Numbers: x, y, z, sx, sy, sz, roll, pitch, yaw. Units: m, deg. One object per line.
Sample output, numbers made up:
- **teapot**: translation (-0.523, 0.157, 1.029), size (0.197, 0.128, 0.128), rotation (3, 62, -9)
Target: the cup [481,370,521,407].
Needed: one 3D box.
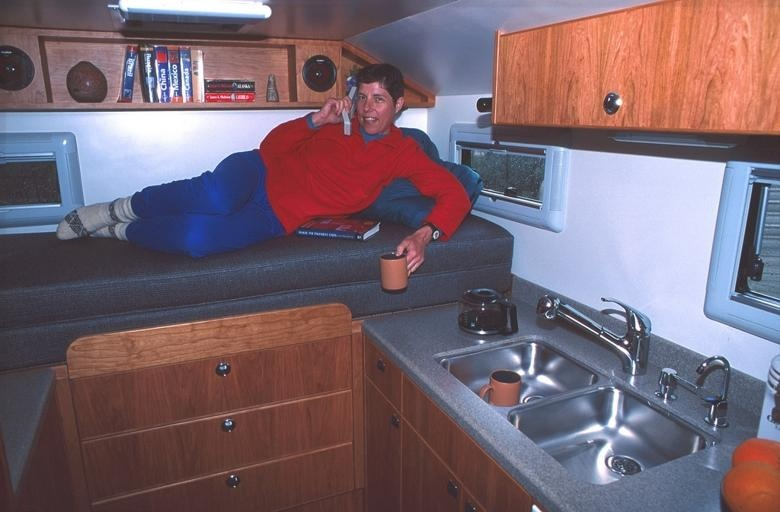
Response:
- **cup**: translation (0.413, 0.471, 1.965), size (0.163, 0.097, 0.094), rotation (-13, 29, -28)

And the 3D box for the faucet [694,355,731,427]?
- **faucet**: translation (1.090, 0.419, 1.813), size (0.102, 0.246, 0.233), rotation (7, 19, 33)

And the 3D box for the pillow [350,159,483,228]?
- **pillow**: translation (0.135, -0.314, 2.893), size (0.443, 0.126, 0.420), rotation (16, 32, 29)

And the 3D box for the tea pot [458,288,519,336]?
- **tea pot**: translation (0.404, 0.241, 2.332), size (0.176, 0.152, 0.229), rotation (-10, 22, -28)

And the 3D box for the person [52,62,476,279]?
- **person**: translation (-0.587, -0.254, 2.742), size (1.721, 0.570, 1.153), rotation (-17, 50, -30)

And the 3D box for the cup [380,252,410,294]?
- **cup**: translation (0.048, 0.068, 2.361), size (0.154, 0.159, 0.146), rotation (-1, 27, 1)

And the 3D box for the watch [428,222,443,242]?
- **watch**: translation (0.208, -0.108, 2.554), size (0.058, 0.033, 0.074), rotation (-14, 69, -32)

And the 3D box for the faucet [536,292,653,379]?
- **faucet**: translation (0.807, 0.323, 2.112), size (0.124, 0.243, 0.490), rotation (-17, 37, -33)
